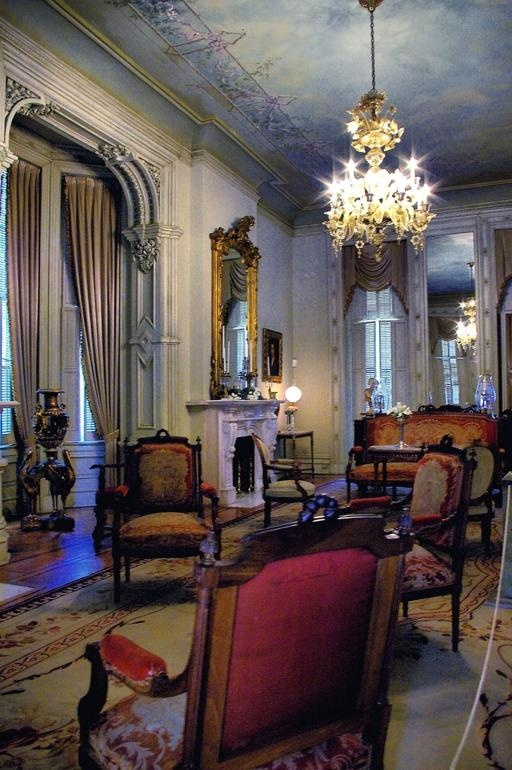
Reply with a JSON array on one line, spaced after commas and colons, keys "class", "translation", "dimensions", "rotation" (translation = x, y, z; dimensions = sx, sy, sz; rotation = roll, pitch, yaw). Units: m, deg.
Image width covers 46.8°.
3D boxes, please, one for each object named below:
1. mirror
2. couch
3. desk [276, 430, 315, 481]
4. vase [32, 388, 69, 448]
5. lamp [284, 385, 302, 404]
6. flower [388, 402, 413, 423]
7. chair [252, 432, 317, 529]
[{"class": "mirror", "translation": [-0.231, -0.934, 6.973], "dimensions": [0.301, 2.221, 1.296], "rotation": [0, -2, 12]}, {"class": "couch", "translation": [1.813, 0.802, 6.465], "dimensions": [1.682, 1.044, 0.625], "rotation": [-4, -5, 38]}, {"class": "desk", "translation": [0.560, 0.980, 8.731], "dimensions": [0.587, 0.815, 0.810], "rotation": [-2, -3, 30]}, {"class": "vase", "translation": [-1.825, 0.322, 5.254], "dimensions": [0.271, 0.530, 0.259], "rotation": [1, -2, -21]}, {"class": "lamp", "translation": [0.538, 0.160, 8.797], "dimensions": [0.256, 0.311, 0.263], "rotation": [0, 1, 31]}, {"class": "flower", "translation": [1.582, 0.317, 6.455], "dimensions": [0.245, 0.212, 0.251], "rotation": [-5, -5, 37]}, {"class": "chair", "translation": [0.261, 0.855, 5.299], "dimensions": [0.561, 0.769, 0.534], "rotation": [0, -1, 16]}]
